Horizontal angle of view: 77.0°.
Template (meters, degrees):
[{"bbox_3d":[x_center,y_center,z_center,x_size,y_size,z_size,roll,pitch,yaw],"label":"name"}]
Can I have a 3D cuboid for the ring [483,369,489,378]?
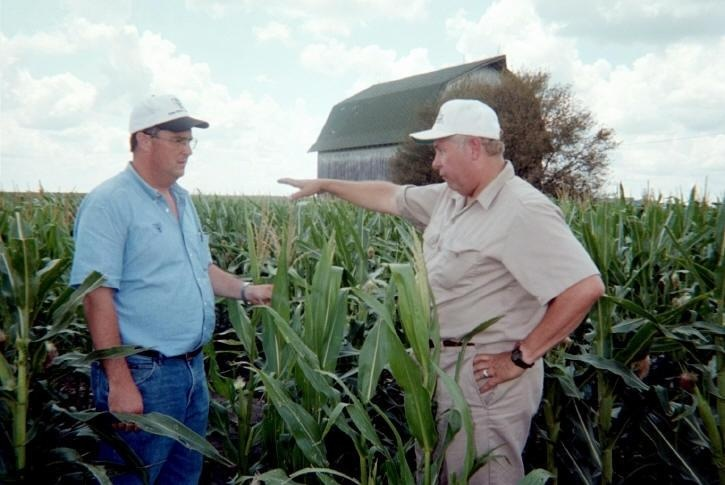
[{"bbox_3d":[0.861,0.914,3.174,0.047,0.052,0.015,-3,4,3],"label":"ring"}]

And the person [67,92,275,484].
[{"bbox_3d":[-1.416,0.200,3.227,1.076,2.554,0.574,1,3,-35],"label":"person"}]

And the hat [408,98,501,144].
[{"bbox_3d":[0.731,-0.881,3.377,0.458,0.247,0.309,3,5,9],"label":"hat"}]
